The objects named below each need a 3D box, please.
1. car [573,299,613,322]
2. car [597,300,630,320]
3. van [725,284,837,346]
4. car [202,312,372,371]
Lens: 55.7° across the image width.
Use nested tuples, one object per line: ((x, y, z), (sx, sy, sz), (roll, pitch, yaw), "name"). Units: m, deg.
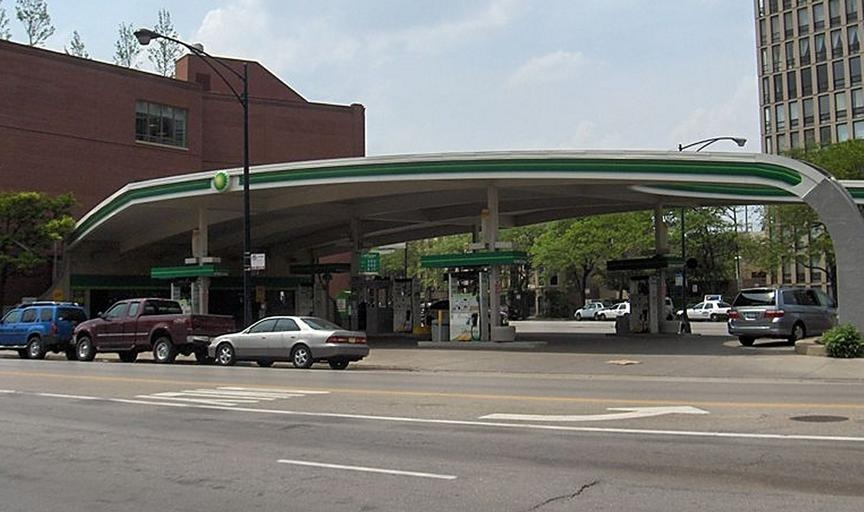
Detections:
((14.785, 5.048, 76.371), (3.354, 1.700, 2.060), (2, -1, 37), "car")
((16.053, 4.864, 72.399), (1.212, 1.309, 4.899), (-1, -8, -9), "car")
((16.891, 2.657, 38.396), (6.669, 2.293, 3.017), (0, 0, -35), "van")
((-6.025, 3.460, 33.583), (6.848, 1.867, 2.697), (-3, -7, 30), "car")
